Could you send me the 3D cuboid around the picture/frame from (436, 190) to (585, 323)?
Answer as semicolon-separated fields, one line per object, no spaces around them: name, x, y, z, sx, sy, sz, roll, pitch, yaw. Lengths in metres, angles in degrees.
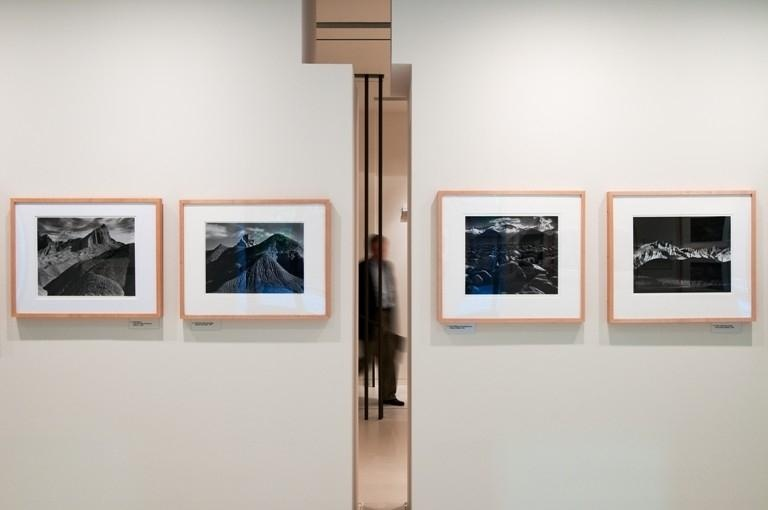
picture/frame;0.732;0.006;4.310;0.835;0.685;0.060;0;2;1

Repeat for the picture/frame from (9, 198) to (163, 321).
picture/frame;-1.801;0.020;4.300;0.749;0.529;0.026;0;3;4

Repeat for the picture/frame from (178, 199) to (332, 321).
picture/frame;-0.799;0.015;4.305;0.760;0.548;0.030;0;2;1

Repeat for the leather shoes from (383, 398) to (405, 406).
leather shoes;0.074;1.079;5.264;0.169;0.063;0.056;1;-3;-1

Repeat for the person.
person;-0.016;0.483;5.129;0.324;1.264;0.180;1;5;1
